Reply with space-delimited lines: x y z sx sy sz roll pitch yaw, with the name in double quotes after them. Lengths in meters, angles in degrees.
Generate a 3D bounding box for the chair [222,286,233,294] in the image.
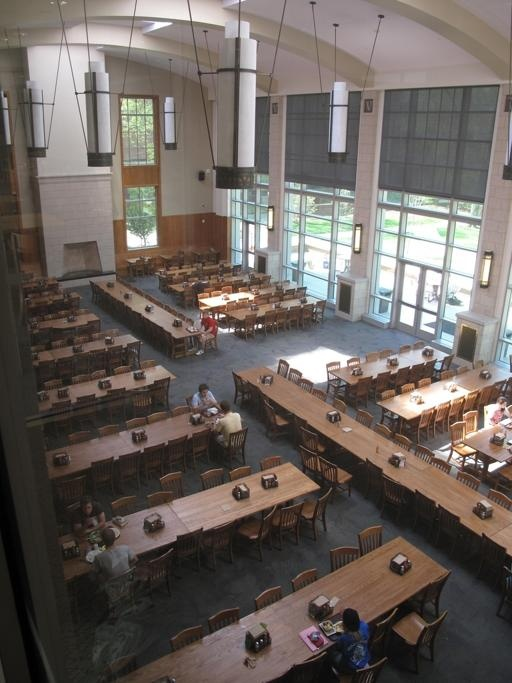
-1.109 -1.960 19.295 0.514 0.365 0.279 0 20 0 "chair"

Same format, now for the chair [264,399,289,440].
0.457 1.760 11.307 0.525 0.793 0.475 -15 35 -18 "chair"

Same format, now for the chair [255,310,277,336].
0.264 -0.673 17.299 0.675 0.807 0.792 -12 17 -34 "chair"

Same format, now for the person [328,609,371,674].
0.997 3.210 5.422 0.403 0.786 0.396 0 15 9 "person"

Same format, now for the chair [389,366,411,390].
3.656 0.891 12.851 0.365 0.608 0.385 -13 33 -18 "chair"

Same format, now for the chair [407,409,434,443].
3.635 1.863 11.209 0.445 0.767 0.488 -19 35 -29 "chair"

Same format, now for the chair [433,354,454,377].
5.066 0.647 13.723 0.367 0.606 0.395 -16 33 -28 "chair"

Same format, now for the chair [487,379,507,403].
5.741 1.160 12.097 0.351 0.518 0.375 -13 38 -13 "chair"

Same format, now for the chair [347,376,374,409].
2.569 1.260 12.594 0.499 0.851 0.543 -13 34 -22 "chair"

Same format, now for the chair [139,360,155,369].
-2.454 0.498 11.417 0.274 0.202 0.271 -11 29 -25 "chair"

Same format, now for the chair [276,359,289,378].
0.699 0.735 13.454 0.316 0.528 0.369 13 19 36 "chair"

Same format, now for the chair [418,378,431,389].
4.056 1.013 12.193 0.170 0.294 0.180 -7 18 -17 "chair"

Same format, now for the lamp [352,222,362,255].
3.652 -3.688 18.214 0.453 1.068 0.155 -7 16 -21 "lamp"

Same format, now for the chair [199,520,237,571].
-0.599 3.082 7.619 0.500 0.820 0.543 -13 36 -27 "chair"

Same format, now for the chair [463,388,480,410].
5.022 1.331 11.835 0.312 0.540 0.339 -12 34 -14 "chair"

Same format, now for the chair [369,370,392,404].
3.068 1.108 12.533 0.494 0.853 0.539 -14 35 -23 "chair"

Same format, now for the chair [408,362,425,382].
4.133 0.767 13.078 0.322 0.545 0.347 -12 27 -22 "chair"

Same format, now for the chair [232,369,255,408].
-0.306 1.189 12.500 0.581 0.920 0.556 -10 25 -20 "chair"

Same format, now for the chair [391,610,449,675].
1.982 3.655 6.343 0.467 0.849 0.519 -16 24 -40 "chair"

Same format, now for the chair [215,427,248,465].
-0.525 2.083 10.120 0.446 0.739 0.481 -22 44 -26 "chair"

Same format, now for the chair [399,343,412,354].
4.254 0.220 14.438 0.201 0.381 0.198 -9 20 -22 "chair"

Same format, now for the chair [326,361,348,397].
2.071 1.002 13.042 0.561 0.925 0.568 -15 31 -27 "chair"

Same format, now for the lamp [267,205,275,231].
0.614 -5.396 22.220 0.342 1.086 0.285 7 17 31 "lamp"

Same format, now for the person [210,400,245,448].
-0.598 1.703 10.203 0.563 1.086 0.611 -16 37 -19 "person"

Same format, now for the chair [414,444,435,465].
3.258 2.199 9.818 0.276 0.422 0.243 -29 34 -35 "chair"

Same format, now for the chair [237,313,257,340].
-0.321 -0.548 16.873 0.598 0.837 0.871 -7 15 -20 "chair"

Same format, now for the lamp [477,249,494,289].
6.402 -1.971 14.110 0.348 1.063 0.215 8 18 33 "lamp"
